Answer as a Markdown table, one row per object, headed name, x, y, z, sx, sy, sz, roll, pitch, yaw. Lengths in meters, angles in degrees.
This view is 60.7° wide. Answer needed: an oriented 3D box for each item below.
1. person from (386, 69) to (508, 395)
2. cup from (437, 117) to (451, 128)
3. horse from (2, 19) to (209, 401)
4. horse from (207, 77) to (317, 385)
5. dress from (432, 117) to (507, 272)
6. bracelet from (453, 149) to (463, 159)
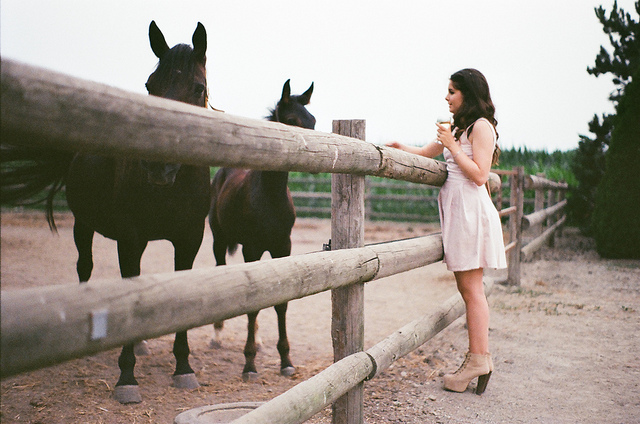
| name | x | y | z | sx | sy | sz | roll | pitch | yaw |
| --- | --- | --- | --- | --- | --- | --- | --- | --- | --- |
| person | 1.445 | 0.202 | 5.539 | 0.768 | 3.232 | 0.531 | 2 | 9 | 38 |
| cup | 1.239 | -0.888 | 5.477 | 0.115 | 0.122 | 0.120 | -1 | 2 | 0 |
| horse | -1.996 | -0.068 | 5.695 | 1.854 | 4.004 | 1.511 | -5 | 7 | -13 |
| horse | -0.694 | 0.103 | 6.733 | 1.292 | 3.477 | 1.916 | -5 | 7 | -11 |
| dress | 1.507 | -0.026 | 5.485 | 0.633 | 1.212 | 0.391 | -2 | 7 | 12 |
| bracelet | 1.336 | -0.563 | 5.308 | 0.081 | 0.061 | 0.035 | -4 | 7 | -9 |
